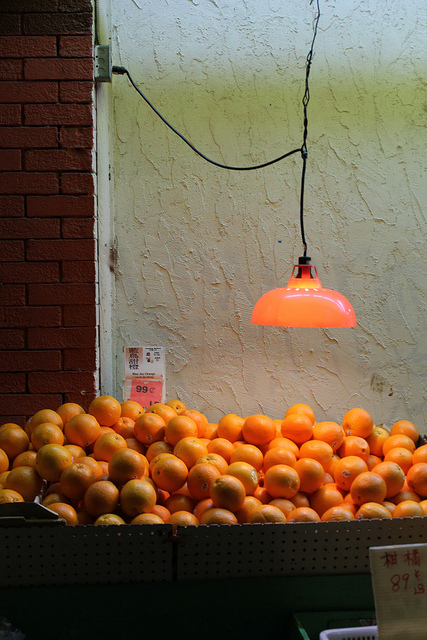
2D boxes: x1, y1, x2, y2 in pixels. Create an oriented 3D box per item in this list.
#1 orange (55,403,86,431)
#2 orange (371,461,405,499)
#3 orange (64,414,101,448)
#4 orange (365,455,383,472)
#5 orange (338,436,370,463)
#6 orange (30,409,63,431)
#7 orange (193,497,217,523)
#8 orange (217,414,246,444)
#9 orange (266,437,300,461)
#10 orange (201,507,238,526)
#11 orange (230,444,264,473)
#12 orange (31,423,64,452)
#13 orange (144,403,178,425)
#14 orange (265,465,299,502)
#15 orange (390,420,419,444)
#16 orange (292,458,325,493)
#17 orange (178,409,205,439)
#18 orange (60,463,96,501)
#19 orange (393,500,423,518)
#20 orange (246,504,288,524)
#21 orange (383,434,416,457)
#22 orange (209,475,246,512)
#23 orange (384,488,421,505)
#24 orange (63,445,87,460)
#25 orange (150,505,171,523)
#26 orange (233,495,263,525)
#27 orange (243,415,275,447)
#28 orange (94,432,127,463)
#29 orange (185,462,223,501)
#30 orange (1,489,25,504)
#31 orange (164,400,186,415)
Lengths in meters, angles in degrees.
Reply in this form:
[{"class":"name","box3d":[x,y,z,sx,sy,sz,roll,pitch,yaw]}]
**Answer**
[{"class":"orange","box3d":[-0.477,0.305,2.180,0.084,0.084,0.084,12,16,37]},{"class":"orange","box3d":[0.496,0.461,1.921,0.065,0.060,0.073,-29,-59,12]},{"class":"orange","box3d":[-0.401,0.338,2.052,0.104,0.103,0.068,4,-17,-11]},{"class":"orange","box3d":[0.503,0.458,2.148,0.046,0.046,0.042,-13,1,6]},{"class":"orange","box3d":[0.452,0.412,2.157,0.079,0.083,0.073,31,-11,-13]},{"class":"orange","box3d":[-0.522,0.310,2.093,0.078,0.074,0.071,2,5,-13]},{"class":"orange","box3d":[-0.030,0.515,1.826,0.059,0.059,0.053,8,-26,-3]},{"class":"orange","box3d":[0.045,0.370,2.280,0.090,0.091,0.085,11,-35,-23]},{"class":"orange","box3d":[0.209,0.399,2.109,0.082,0.081,0.075,10,-4,1]},{"class":"orange","box3d":[0.011,0.510,1.736,0.055,0.044,0.058,-2,-6,9]},{"class":"orange","box3d":[0.103,0.415,2.041,0.094,0.089,0.084,5,-4,-4]},{"class":"orange","box3d":[-0.493,0.341,1.976,0.093,0.089,0.085,7,-1,-13]},{"class":"orange","box3d":[-0.188,0.316,2.270,0.076,0.073,0.064,2,9,5]},{"class":"orange","box3d":[0.189,0.457,1.942,0.103,0.087,0.111,-11,-1,8]},{"class":"orange","box3d":[0.653,0.379,2.339,0.088,0.089,0.082,-11,13,-24]},{"class":"orange","box3d":[0.275,0.448,1.994,0.109,0.109,0.092,8,-40,2]},{"class":"orange","box3d":[-0.068,0.352,2.238,0.099,0.094,0.090,1,-8,-6]},{"class":"orange","box3d":[-0.368,0.438,1.804,0.083,0.083,0.078,13,31,24]},{"class":"orange","box3d":[0.520,0.511,1.807,0.054,0.047,0.058,7,40,30]},{"class":"orange","box3d":[0.135,0.496,1.779,0.066,0.055,0.063,10,12,41]},{"class":"orange","box3d":[0.601,0.399,2.191,0.096,0.070,0.075,17,-17,-21]},{"class":"orange","box3d":[0.035,0.471,1.818,0.093,0.095,0.106,1,-16,0]},{"class":"orange","box3d":[0.545,0.514,1.948,0.058,0.048,0.064,-9,-2,15]},{"class":"orange","box3d":[-0.405,0.388,1.979,0.048,0.041,0.050,-7,35,-11]},{"class":"orange","box3d":[-0.140,0.524,1.821,0.042,0.045,0.039,-23,-10,-6]},{"class":"orange","box3d":[0.087,0.514,1.826,0.076,0.074,0.068,-2,17,1]},{"class":"orange","box3d":[0.151,0.361,2.212,0.108,0.110,0.093,4,-47,13]},{"class":"orange","box3d":[-0.307,0.378,2.005,0.093,0.089,0.084,2,-14,-2]},{"class":"orange","box3d":[-0.028,0.451,1.878,0.106,0.107,0.178,1,-15,-2]},{"class":"orange","box3d":[-0.525,0.457,1.771,0.041,0.042,0.041,16,10,39]},{"class":"orange","box3d":[-0.135,0.311,2.396,0.048,0.043,0.044,-24,-23,-23]}]
